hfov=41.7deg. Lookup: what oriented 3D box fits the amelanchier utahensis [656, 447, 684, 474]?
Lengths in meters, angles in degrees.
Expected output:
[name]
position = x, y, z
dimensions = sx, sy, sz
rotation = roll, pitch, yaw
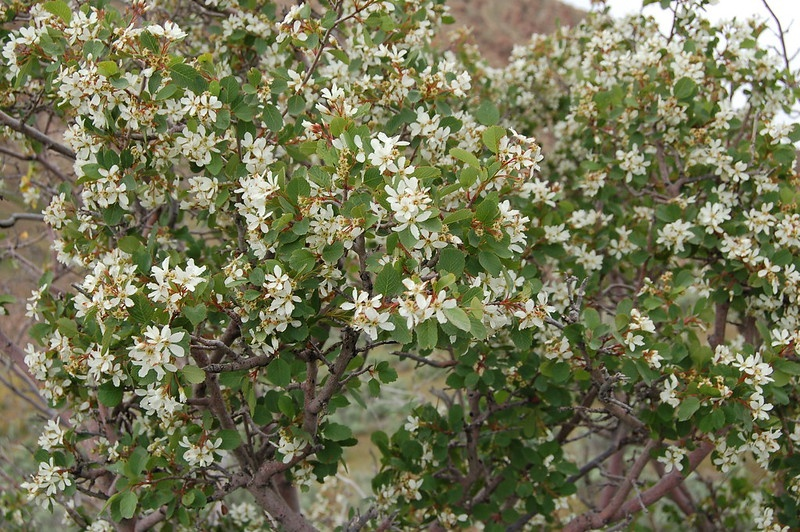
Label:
[amelanchier utahensis]
position = 2.065, 1.462, 7.996
dimensions = 0.200, 0.144, 0.142
rotation = -10, -34, 21
